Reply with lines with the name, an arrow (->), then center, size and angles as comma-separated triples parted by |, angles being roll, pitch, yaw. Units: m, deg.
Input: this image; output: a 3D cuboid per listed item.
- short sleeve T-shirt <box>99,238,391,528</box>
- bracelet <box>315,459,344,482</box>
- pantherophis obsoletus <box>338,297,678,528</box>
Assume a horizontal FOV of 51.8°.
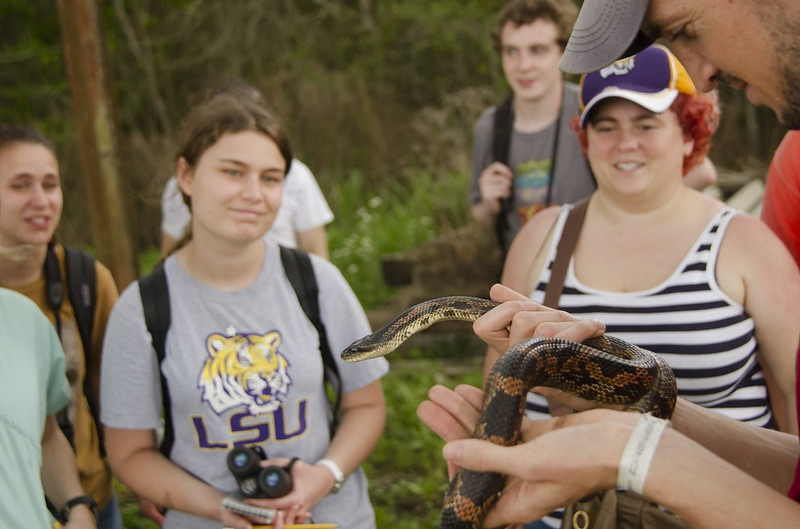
short sleeve T-shirt -> -0.932, 0.689, 4.654 | 1.409, 1.765, 0.812 | -8, 4, -28
bracelet -> -0.401, 1.177, 4.663 | 0.055, 0.139, 0.115 | -40, -7, 27
pantherophis obsoletus -> 0.656, 0.677, 4.693 | 1.334, 0.866, 1.398 | -5, 12, -17
